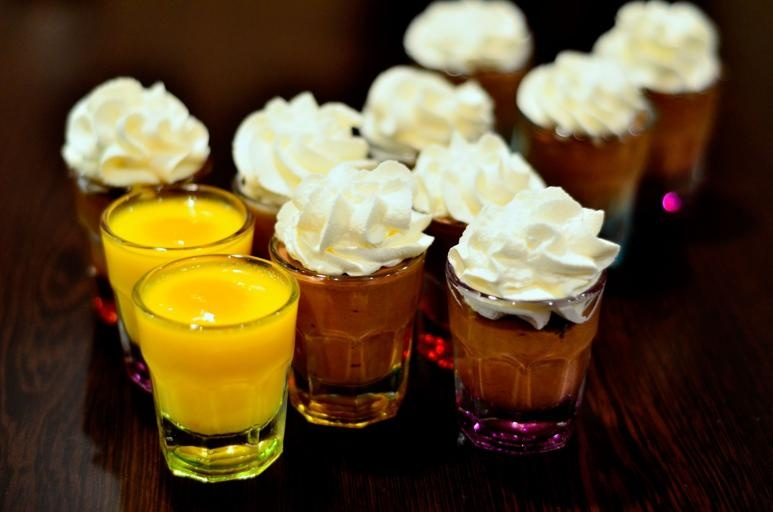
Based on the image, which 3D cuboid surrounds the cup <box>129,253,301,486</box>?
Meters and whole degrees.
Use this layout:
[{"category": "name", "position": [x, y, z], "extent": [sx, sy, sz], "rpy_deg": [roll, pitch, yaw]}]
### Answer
[{"category": "cup", "position": [-0.295, 0.209, 1.344], "extent": [0.295, 0.330, 0.292], "rpy_deg": [-1, 40, 1]}]

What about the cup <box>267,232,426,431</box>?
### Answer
[{"category": "cup", "position": [-0.065, 0.146, 1.583], "extent": [0.384, 0.403, 0.368], "rpy_deg": [3, 20, -1]}]

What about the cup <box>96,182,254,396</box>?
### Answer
[{"category": "cup", "position": [-0.438, 0.071, 1.530], "extent": [0.310, 0.344, 0.308], "rpy_deg": [3, 31, -2]}]

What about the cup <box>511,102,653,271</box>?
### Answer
[{"category": "cup", "position": [0.431, -0.194, 1.956], "extent": [0.357, 0.501, 0.327], "rpy_deg": [0, 22, 0]}]
